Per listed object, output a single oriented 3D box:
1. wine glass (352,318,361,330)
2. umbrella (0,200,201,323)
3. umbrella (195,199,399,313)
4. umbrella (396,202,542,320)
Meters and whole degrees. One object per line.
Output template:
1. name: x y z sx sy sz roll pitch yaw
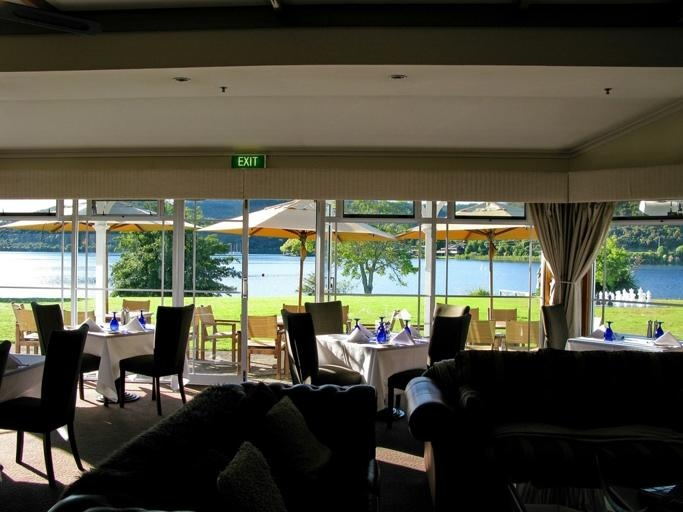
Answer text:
1. wine glass: 0.187 0.833 8.188 0.109 0.117 0.109 3 -3 -37
2. umbrella: -3.590 -0.104 10.588 2.045 1.423 2.023 -1 -3 -7
3. umbrella: -0.805 -0.328 10.669 2.079 1.445 2.138 -1 3 -18
4. umbrella: 1.824 0.003 10.232 1.502 1.284 1.796 1 0 -15
